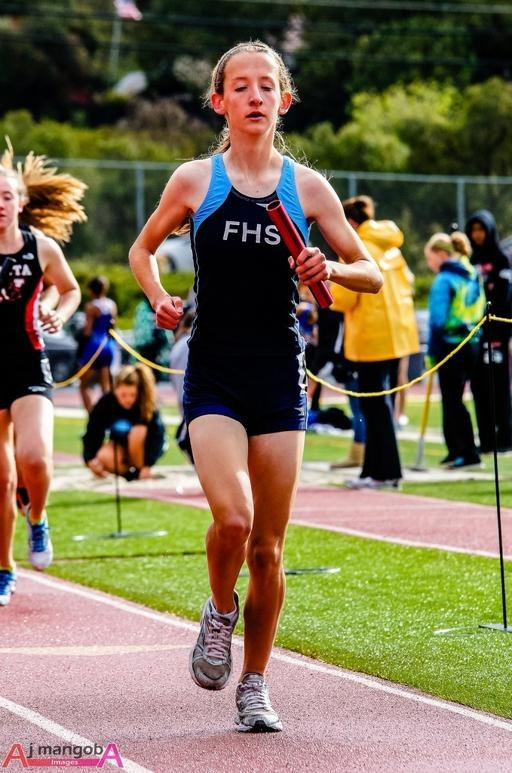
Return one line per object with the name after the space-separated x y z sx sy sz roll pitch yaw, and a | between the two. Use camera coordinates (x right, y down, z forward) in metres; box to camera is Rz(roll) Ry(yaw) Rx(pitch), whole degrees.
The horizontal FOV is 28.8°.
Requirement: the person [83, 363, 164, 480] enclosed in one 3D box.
-1.127 0.274 8.681 0.912 1.186 0.896 0 10 -9 | person

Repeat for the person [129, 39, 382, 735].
-0.016 0.008 2.810 0.698 1.944 0.487 2 5 -7 | person

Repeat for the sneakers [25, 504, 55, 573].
-0.969 0.682 4.438 0.106 0.305 0.123 -6 -7 -12 | sneakers

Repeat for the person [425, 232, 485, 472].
1.816 -0.318 9.074 0.624 2.204 0.818 4 5 10 | person

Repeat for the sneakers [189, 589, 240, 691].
-0.125 0.707 2.873 0.105 0.130 0.300 15 45 -17 | sneakers

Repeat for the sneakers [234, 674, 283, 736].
0.011 0.907 2.831 0.090 0.090 0.202 0 -6 -9 | sneakers
